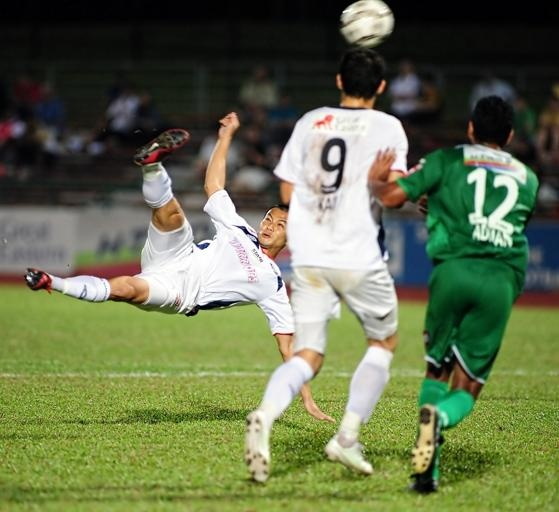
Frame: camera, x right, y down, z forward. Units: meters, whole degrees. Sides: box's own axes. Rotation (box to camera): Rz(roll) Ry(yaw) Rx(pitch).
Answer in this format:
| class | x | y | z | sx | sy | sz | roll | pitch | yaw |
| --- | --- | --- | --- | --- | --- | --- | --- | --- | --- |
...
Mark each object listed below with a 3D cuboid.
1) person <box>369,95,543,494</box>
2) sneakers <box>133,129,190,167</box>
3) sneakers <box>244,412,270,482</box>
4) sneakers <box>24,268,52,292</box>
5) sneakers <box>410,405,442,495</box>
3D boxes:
| class | x | y | z | sx | sy | sz | roll | pitch | yaw |
| --- | --- | --- | --- | --- | --- | --- | --- | --- | --- |
| person | 1.314 | 0.231 | 7.770 | 1.159 | 2.759 | 0.730 | -4 | 10 | -26 |
| sneakers | -0.939 | -0.861 | 8.578 | 0.474 | 0.121 | 0.226 | -30 | -13 | 2 |
| sneakers | -0.148 | 1.321 | 7.421 | 0.189 | 0.448 | 0.201 | -6 | -3 | 18 |
| sneakers | -1.875 | 0.169 | 8.340 | 0.102 | 0.141 | 0.202 | -23 | 21 | -33 |
| sneakers | 1.039 | 1.343 | 7.516 | 0.232 | 0.601 | 0.288 | 2 | -1 | 28 |
